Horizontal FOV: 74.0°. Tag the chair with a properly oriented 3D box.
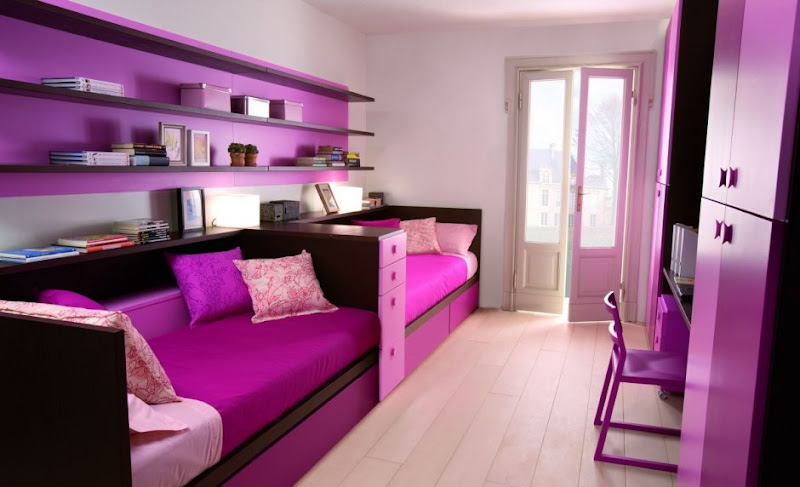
[{"bbox_3d":[1.635,0.889,3.452,0.735,0.905,0.614,10,11,31],"label":"chair"}]

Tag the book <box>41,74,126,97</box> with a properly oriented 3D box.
[{"bbox_3d":[-1.900,-0.947,3.193,0.421,0.111,0.274,-10,17,-34],"label":"book"}]

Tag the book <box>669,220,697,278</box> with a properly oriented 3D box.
[{"bbox_3d":[2.172,0.044,4.065,0.237,0.417,0.431,2,5,23],"label":"book"}]

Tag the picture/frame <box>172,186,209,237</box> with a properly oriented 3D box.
[{"bbox_3d":[-1.573,-0.238,3.955,0.059,0.359,0.308,-3,17,16],"label":"picture/frame"}]
